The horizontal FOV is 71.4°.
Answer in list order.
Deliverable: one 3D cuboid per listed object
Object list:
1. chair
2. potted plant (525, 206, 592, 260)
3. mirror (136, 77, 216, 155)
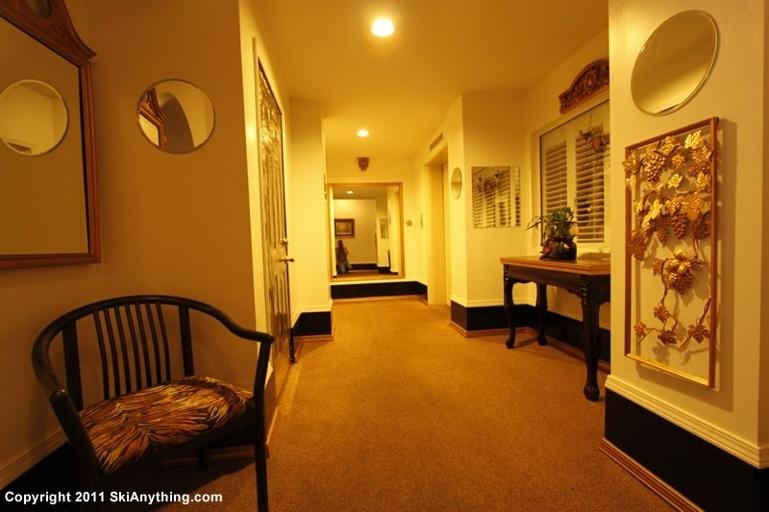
[{"bbox_3d":[-1.318,0.847,3.114,1.156,1.217,0.891,-3,4,-23],"label":"chair"},{"bbox_3d":[1.497,-0.192,4.536,0.432,0.444,0.451,0,6,12],"label":"potted plant"},{"bbox_3d":[-1.339,-0.889,3.366,0.461,0.498,0.023,1,-1,-18],"label":"mirror"}]
